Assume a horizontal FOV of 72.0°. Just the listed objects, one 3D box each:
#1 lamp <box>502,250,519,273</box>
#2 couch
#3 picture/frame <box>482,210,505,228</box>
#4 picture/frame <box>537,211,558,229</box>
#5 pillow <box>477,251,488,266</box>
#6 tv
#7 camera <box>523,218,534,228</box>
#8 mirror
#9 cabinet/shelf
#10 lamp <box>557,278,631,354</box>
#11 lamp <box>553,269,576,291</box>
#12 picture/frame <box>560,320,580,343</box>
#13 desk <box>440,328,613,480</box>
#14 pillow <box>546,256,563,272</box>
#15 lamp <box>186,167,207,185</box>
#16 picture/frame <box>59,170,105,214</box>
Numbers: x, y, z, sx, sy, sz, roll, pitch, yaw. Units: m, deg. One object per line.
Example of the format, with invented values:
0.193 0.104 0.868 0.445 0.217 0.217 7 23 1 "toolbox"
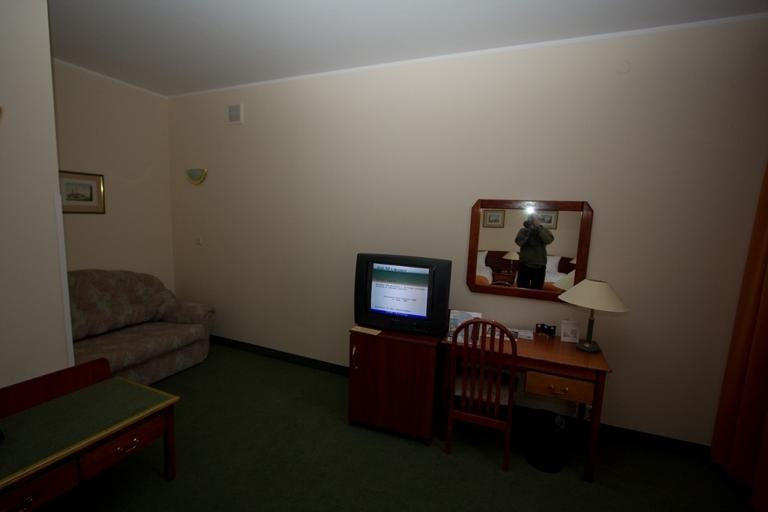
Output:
1.213 0.040 5.112 0.161 0.177 0.163 0 3 10 "lamp"
-2.693 0.741 5.552 0.954 1.122 1.691 3 7 21 "couch"
1.051 -0.358 5.046 0.160 0.145 0.014 3 11 17 "picture/frame"
1.528 -0.339 4.915 0.156 0.165 0.016 3 7 11 "picture/frame"
0.936 0.030 5.099 0.121 0.119 0.036 3 4 28 "pillow"
0.208 0.357 5.181 0.901 0.761 0.501 6 8 18 "tv"
1.356 -0.302 4.959 0.108 0.081 0.063 1 -3 36 "camera"
1.410 -0.065 4.947 0.897 0.826 0.065 4 7 20 "mirror"
0.107 1.168 5.038 0.852 0.899 0.548 3 7 15 "cabinet/shelf"
1.855 0.530 4.727 0.558 0.682 0.584 10 10 32 "lamp"
1.676 0.232 4.966 0.144 0.138 0.184 0 -5 10 "lamp"
1.688 0.695 4.799 0.160 0.209 0.067 3 9 16 "picture/frame"
1.374 0.983 4.655 1.422 1.114 1.102 2 -1 31 "desk"
1.565 0.079 4.927 0.130 0.130 0.041 8 7 38 "pillow"
-2.249 -0.954 6.317 0.326 0.202 0.080 7 9 32 "lamp"
-3.241 -0.681 5.626 0.054 0.548 0.568 0 2 31 "picture/frame"
